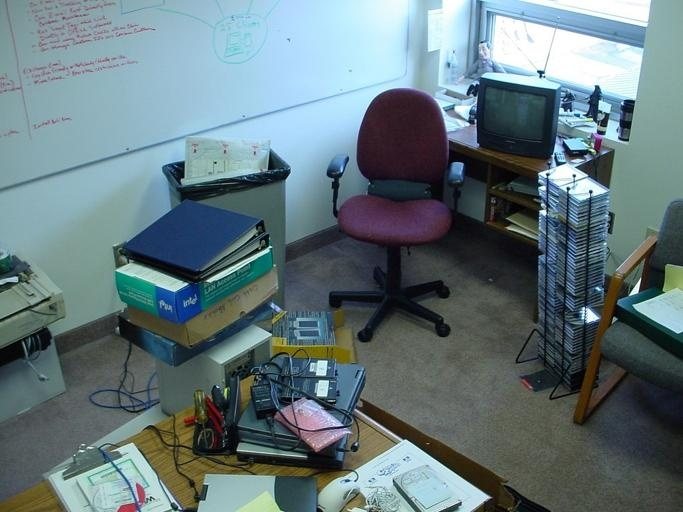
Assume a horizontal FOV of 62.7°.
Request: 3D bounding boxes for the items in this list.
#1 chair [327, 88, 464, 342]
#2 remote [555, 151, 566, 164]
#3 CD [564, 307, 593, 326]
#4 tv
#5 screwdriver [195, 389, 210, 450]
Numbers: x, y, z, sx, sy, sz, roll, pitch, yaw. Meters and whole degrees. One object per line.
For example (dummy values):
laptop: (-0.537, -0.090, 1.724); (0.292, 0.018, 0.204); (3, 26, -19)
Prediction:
chair: (0.314, -0.271, 3.395); (0.832, 1.335, 0.808); (-5, 23, -11)
remote: (1.297, -0.582, 3.327); (0.066, 0.034, 0.124); (5, 44, 4)
CD: (1.248, 0.325, 2.929); (0.122, 0.028, 0.120); (-13, 29, -20)
tv: (1.048, -0.852, 3.408); (0.565, 0.520, 0.375); (23, 38, 32)
screwdriver: (-0.472, 0.561, 1.914); (0.044, 0.040, 0.192); (-4, 67, -3)
